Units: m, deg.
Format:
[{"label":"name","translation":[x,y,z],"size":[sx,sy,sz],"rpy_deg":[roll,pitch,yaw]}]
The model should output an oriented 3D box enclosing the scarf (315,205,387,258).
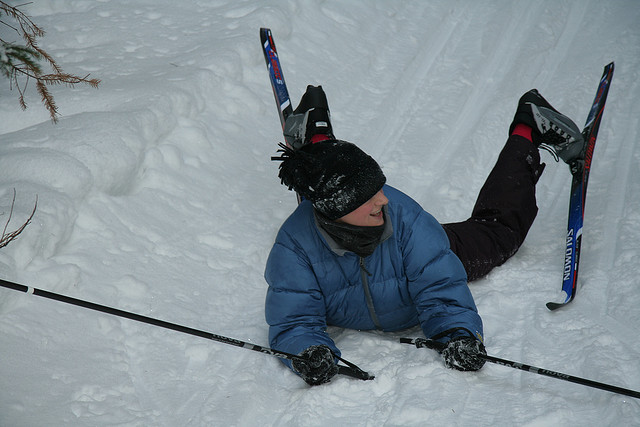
[{"label":"scarf","translation":[0.201,0.111,4.279],"size":[0.361,0.192,0.295],"rpy_deg":[36,52,26]}]
